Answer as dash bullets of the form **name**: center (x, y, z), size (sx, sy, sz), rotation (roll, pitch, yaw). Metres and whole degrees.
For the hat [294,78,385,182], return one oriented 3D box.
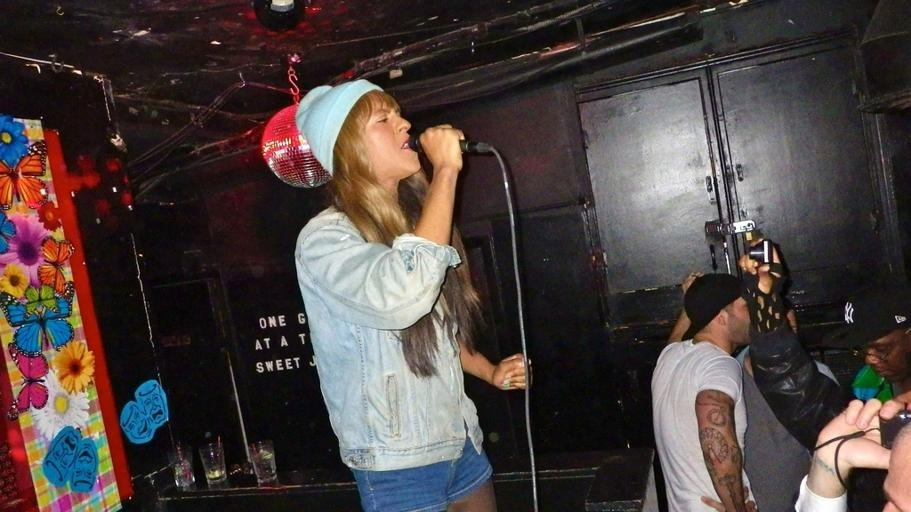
- **hat**: center (-0.767, -0.782, 3.696), size (0.487, 0.221, 0.607), rotation (-28, -19, -43)

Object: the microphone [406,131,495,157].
- **microphone**: center (-0.109, -0.676, 3.757), size (0.679, 0.155, 0.170), rotation (4, -23, 8)

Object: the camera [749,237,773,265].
- **camera**: center (1.840, -0.015, 3.805), size (0.135, 0.145, 0.073), rotation (-9, -4, 22)
